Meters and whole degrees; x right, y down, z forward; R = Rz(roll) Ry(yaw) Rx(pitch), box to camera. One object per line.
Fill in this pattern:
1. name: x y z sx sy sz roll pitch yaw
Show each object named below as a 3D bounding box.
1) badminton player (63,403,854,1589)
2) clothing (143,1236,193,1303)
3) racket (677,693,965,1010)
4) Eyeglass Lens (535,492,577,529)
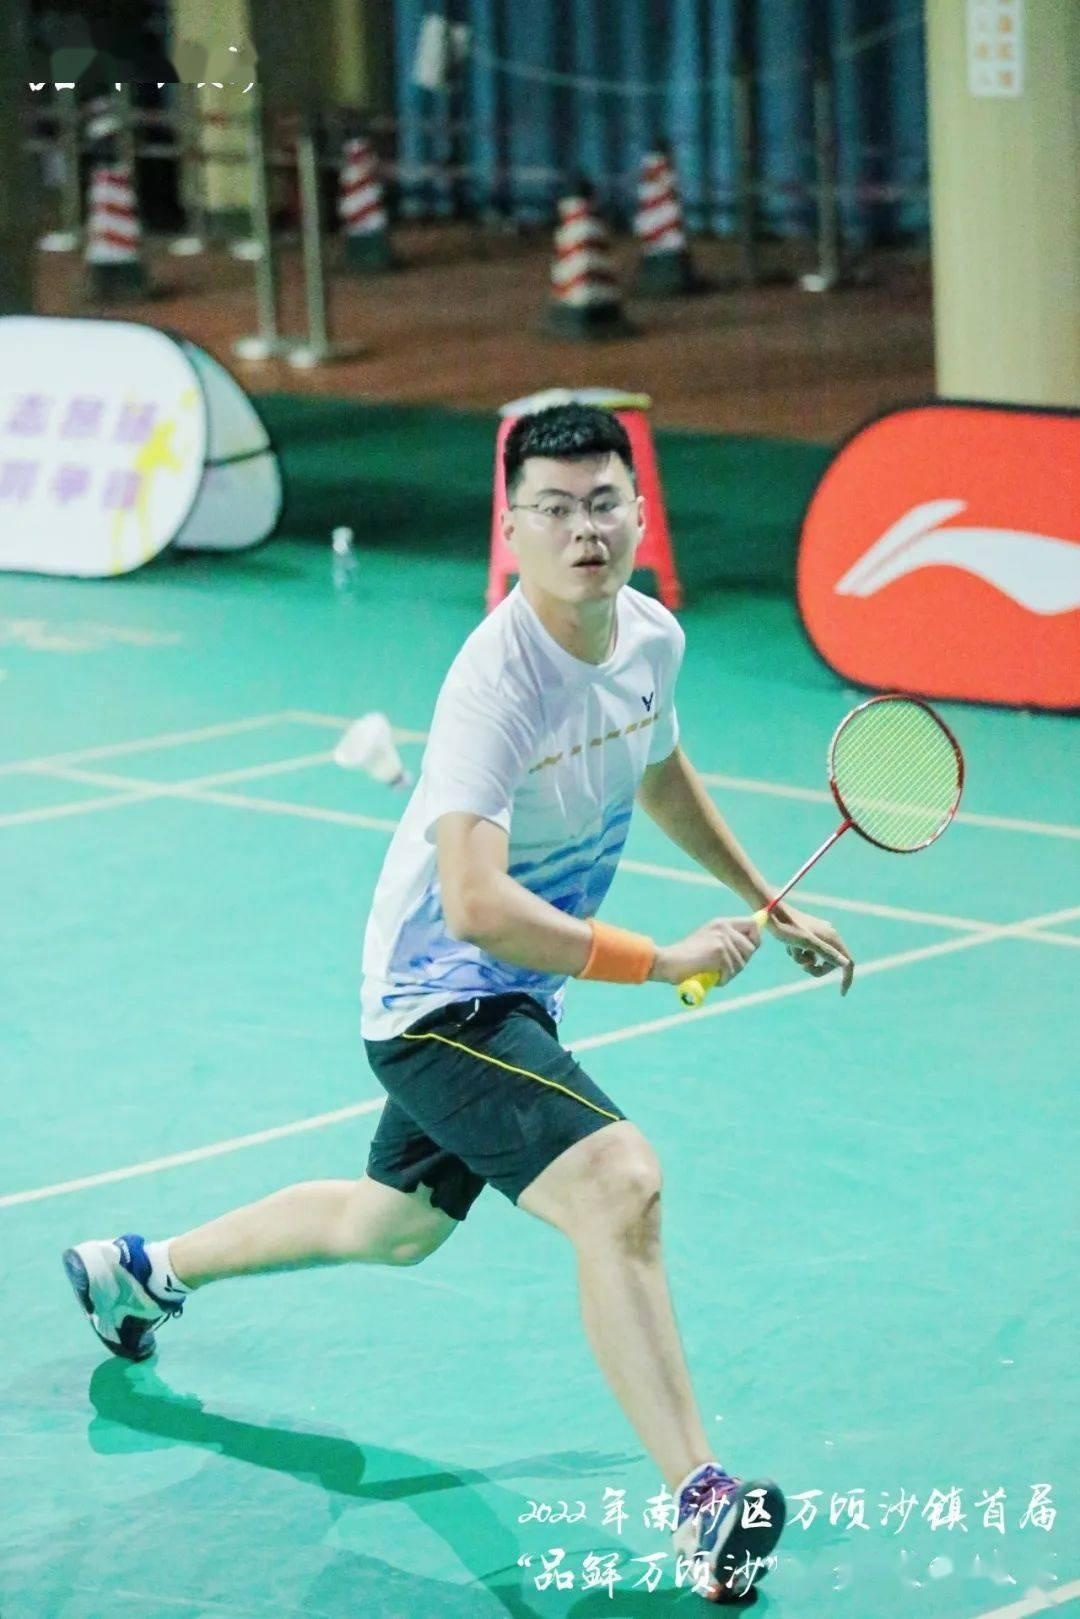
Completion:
1. badminton player: -0.006 0.193 2.372 1.301 1.572 0.755 9 18 44
2. clothing: -0.650 0.802 2.712 0.055 0.134 0.100 -2 -3 -22
3. racket: 0.564 0.008 2.849 0.844 0.316 0.093 -46 -2 -32
4. Eyeglass Lens: 0.016 -0.407 2.114 0.079 0.053 0.042 0 13 13
